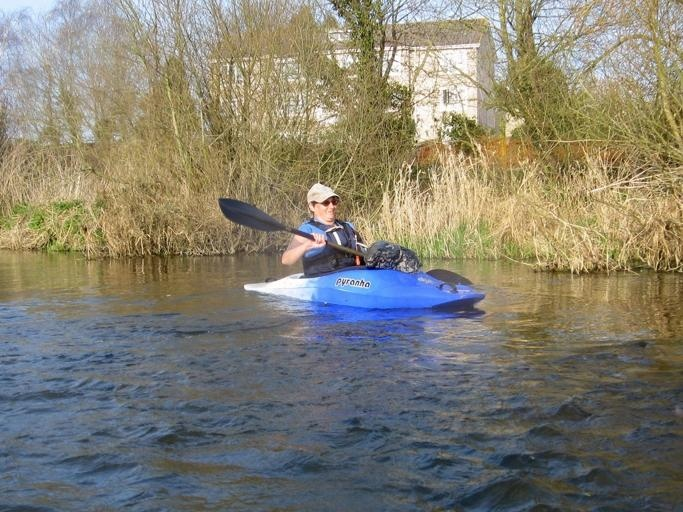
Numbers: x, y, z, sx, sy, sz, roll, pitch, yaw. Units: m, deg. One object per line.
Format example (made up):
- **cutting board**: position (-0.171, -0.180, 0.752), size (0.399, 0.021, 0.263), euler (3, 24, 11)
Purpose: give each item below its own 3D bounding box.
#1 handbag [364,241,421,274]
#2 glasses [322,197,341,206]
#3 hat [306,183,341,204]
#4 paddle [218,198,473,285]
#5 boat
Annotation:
- **handbag**: position (0.572, 0.000, 9.118), size (0.588, 0.153, 0.366), euler (3, 4, 15)
- **glasses**: position (-0.115, -0.656, 9.523), size (0.148, 0.106, 0.279), euler (5, 13, 31)
- **hat**: position (-0.243, -0.735, 9.540), size (0.265, 0.156, 0.385), euler (-9, 7, -40)
- **paddle**: position (0.135, -0.242, 12.015), size (4.265, 0.483, 0.225), euler (17, -41, 7)
- **boat**: position (0.093, 0.380, 9.205), size (2.564, 0.280, 0.783), euler (0, -3, 28)
